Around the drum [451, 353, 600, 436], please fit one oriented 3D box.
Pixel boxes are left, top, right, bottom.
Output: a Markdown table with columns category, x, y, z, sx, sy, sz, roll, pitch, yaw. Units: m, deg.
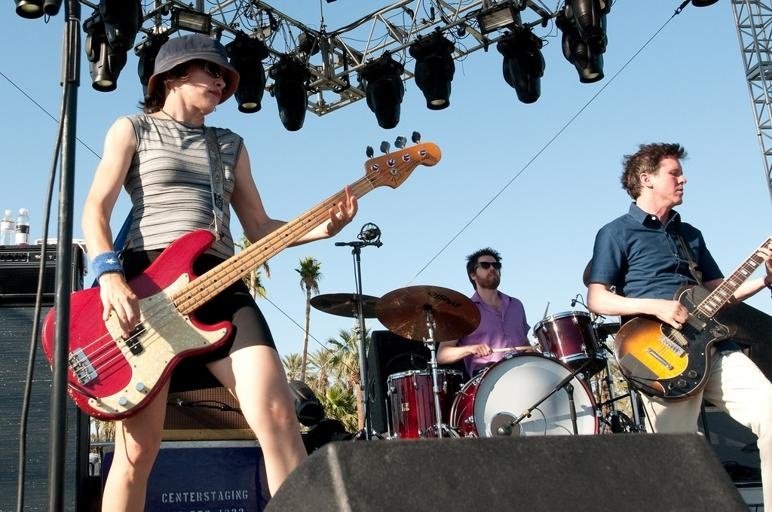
| category | x | y | z | sx | sy | sz | roll | pitch | yaw |
| --- | --- | --- | --- | --- | --- | --- | --- | --- | --- |
| drum | 1.108 | 1.105 | 7.092 | 1.161 | 0.651 | 0.335 | -3 | -8 | 2 |

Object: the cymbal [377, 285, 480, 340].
| category | x | y | z | sx | sy | sz | roll | pitch | yaw |
| --- | --- | --- | --- | --- | --- | --- | --- | --- | --- |
| cymbal | 0.380 | 0.497 | 7.736 | 0.778 | 0.196 | 0.811 | -4 | -53 | 9 |

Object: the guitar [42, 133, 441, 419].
| category | x | y | z | sx | sy | sz | roll | pitch | yaw |
| --- | --- | --- | --- | --- | --- | --- | --- | --- | --- |
| guitar | -0.953 | 0.205 | 5.122 | 2.564 | 0.778 | 0.385 | -37 | 3 | -20 |

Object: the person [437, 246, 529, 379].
| category | x | y | z | sx | sy | sz | roll | pitch | yaw |
| --- | --- | --- | --- | --- | --- | --- | --- | --- | --- |
| person | 0.932 | 0.604 | 8.112 | 0.733 | 1.496 | 0.781 | 6 | 0 | -5 |

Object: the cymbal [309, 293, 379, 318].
| category | x | y | z | sx | sy | sz | roll | pitch | yaw |
| --- | --- | --- | --- | --- | --- | --- | --- | --- | --- |
| cymbal | -0.333 | 0.439 | 7.923 | 0.474 | 0.115 | 0.466 | 23 | -40 | -33 |
